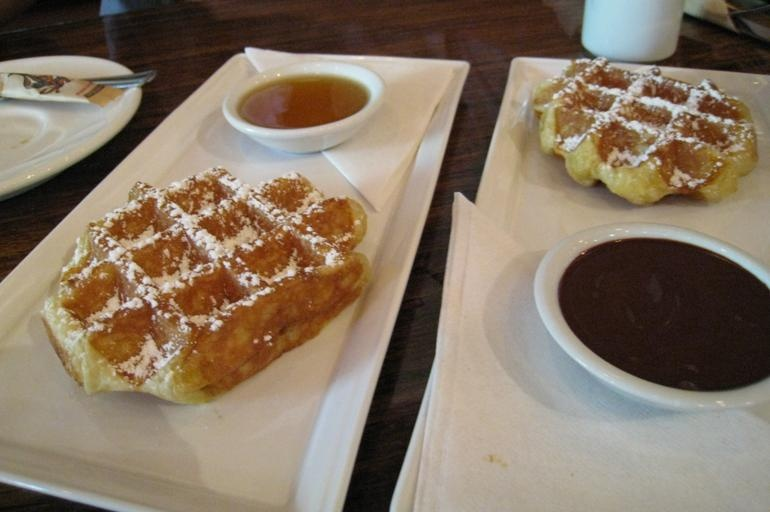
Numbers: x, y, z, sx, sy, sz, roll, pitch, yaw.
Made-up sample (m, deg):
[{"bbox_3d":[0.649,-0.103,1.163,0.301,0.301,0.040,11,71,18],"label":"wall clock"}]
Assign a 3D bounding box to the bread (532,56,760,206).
[{"bbox_3d":[0.700,-0.314,1.786,0.543,0.128,0.414,24,54,32],"label":"bread"}]
